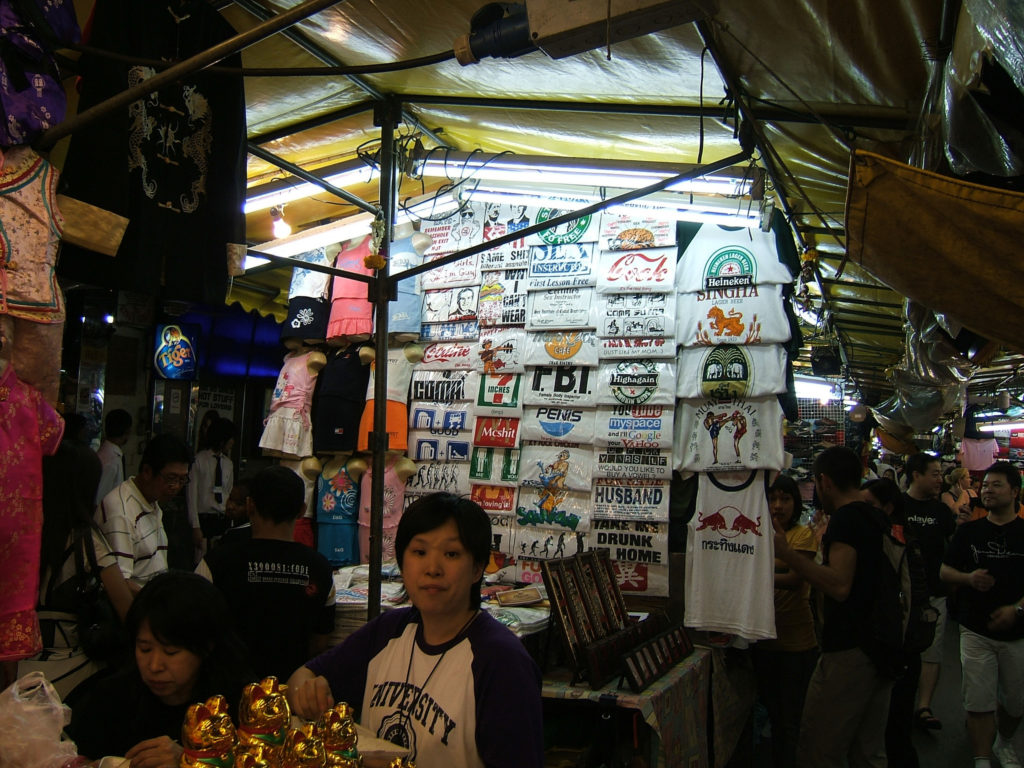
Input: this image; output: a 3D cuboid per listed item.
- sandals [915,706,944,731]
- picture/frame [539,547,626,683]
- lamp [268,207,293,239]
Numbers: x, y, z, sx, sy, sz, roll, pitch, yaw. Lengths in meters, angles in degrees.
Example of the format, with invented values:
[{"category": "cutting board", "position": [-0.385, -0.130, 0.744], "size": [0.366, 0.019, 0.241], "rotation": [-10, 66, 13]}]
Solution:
[{"category": "sandals", "position": [3.250, 2.619, 6.248], "size": [0.101, 0.121, 0.304], "rotation": [-1, -16, 2]}, {"category": "picture/frame", "position": [0.360, 1.214, 4.146], "size": [0.050, 0.468, 0.653], "rotation": [-21, -7, 18]}, {"category": "lamp", "position": [-1.763, -1.220, 6.104], "size": [0.141, 0.254, 0.221], "rotation": [5, -6, -17]}]
